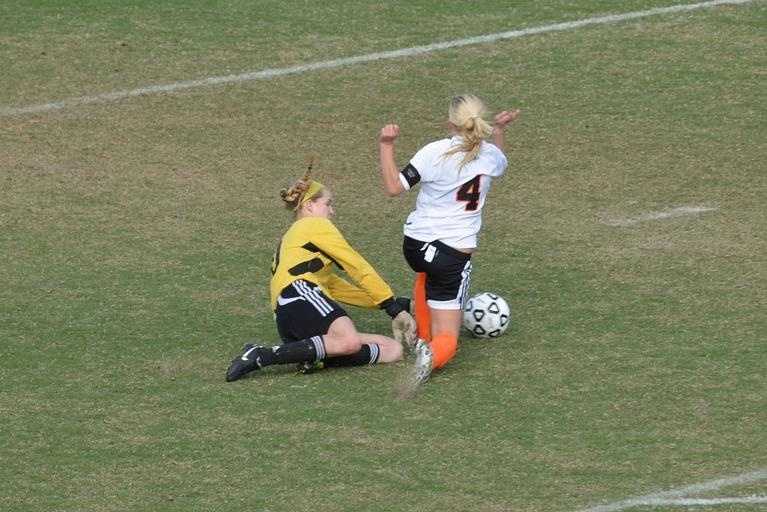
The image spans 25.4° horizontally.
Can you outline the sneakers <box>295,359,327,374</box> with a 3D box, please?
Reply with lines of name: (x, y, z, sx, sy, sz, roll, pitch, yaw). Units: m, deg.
sneakers: (-0.735, 1.109, 17.195, 0.265, 0.073, 0.144, -4, 6, -31)
